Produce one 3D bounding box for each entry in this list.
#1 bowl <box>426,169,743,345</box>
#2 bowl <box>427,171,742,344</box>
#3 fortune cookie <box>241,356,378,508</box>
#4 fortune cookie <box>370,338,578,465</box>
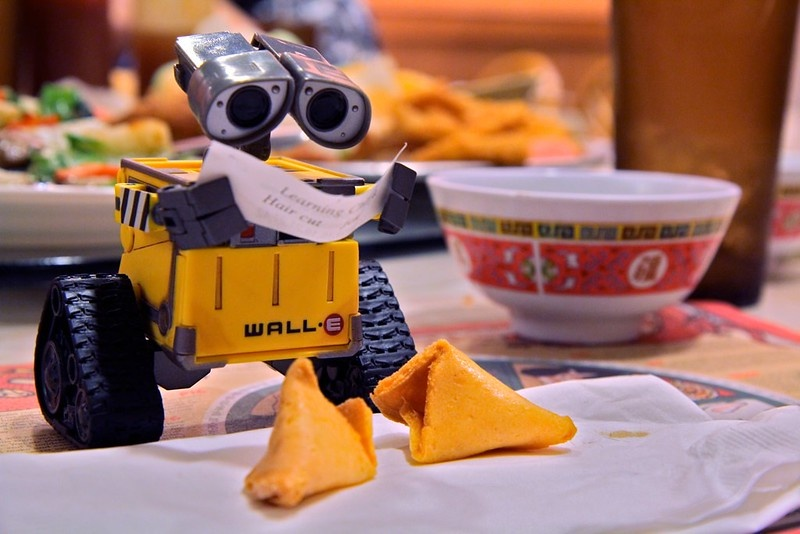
[{"bbox_3d":[0.234,-0.021,0.974,0.284,0.143,0.279,3,4,0],"label":"bowl"},{"bbox_3d":[0.216,-0.020,0.984,0.284,0.145,0.277,4,5,0],"label":"bowl"},{"bbox_3d":[-0.088,0.138,0.670,0.086,0.118,0.126,-15,-14,33],"label":"fortune cookie"},{"bbox_3d":[0.066,0.138,0.692,0.135,0.061,0.113,35,62,10],"label":"fortune cookie"}]
